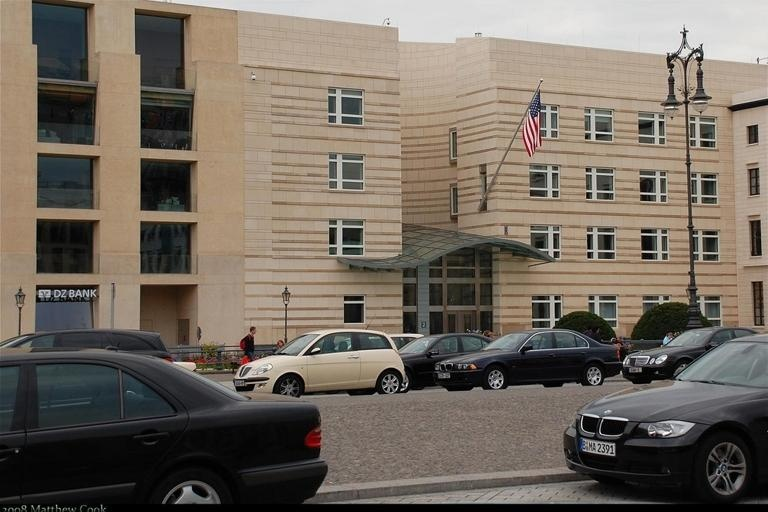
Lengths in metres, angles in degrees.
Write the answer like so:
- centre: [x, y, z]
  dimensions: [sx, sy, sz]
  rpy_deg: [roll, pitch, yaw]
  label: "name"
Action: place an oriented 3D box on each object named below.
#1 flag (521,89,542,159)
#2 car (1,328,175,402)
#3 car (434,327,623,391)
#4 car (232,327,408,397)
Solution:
- centre: [7.750, -7.122, 56.197]
  dimensions: [0.892, 3.739, 1.975]
  rpy_deg: [-1, -6, 7]
  label: "flag"
- centre: [-8.255, 2.936, 29.081]
  dimensions: [4.948, 1.433, 2.001]
  rpy_deg: [2, -6, -4]
  label: "car"
- centre: [4.863, 3.485, 36.550]
  dimensions: [6.076, 1.632, 2.330]
  rpy_deg: [2, -6, -20]
  label: "car"
- centre: [-2.009, 3.319, 34.277]
  dimensions: [4.687, 1.627, 2.366]
  rpy_deg: [4, -8, -26]
  label: "car"
